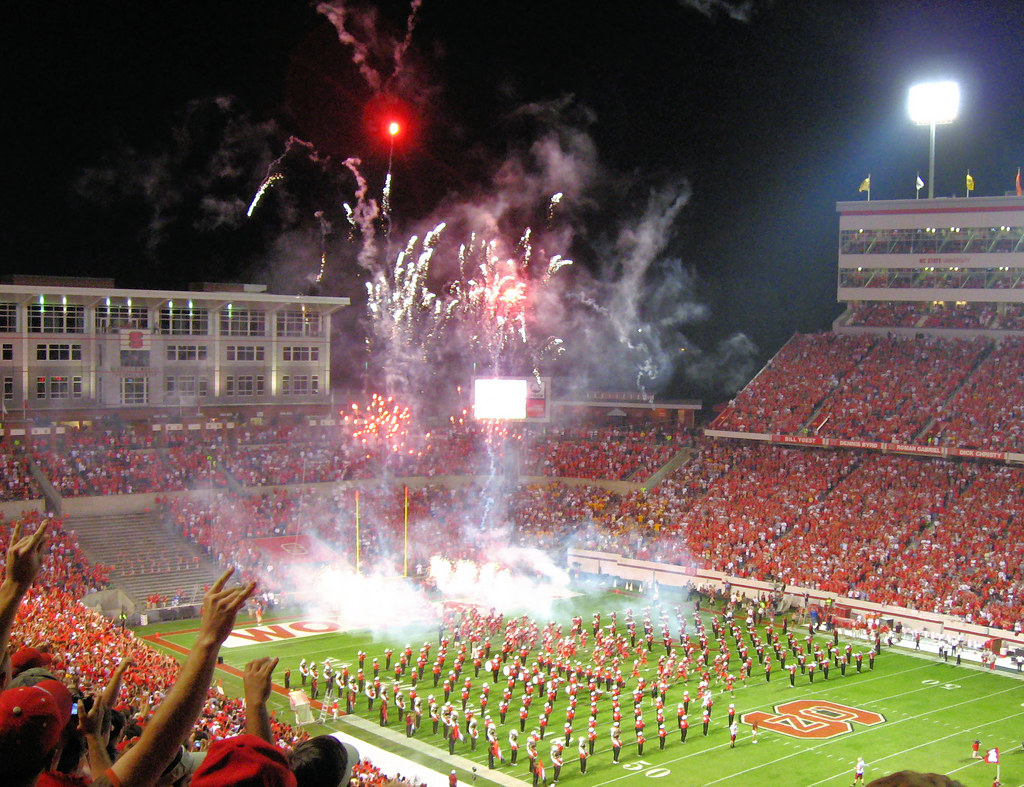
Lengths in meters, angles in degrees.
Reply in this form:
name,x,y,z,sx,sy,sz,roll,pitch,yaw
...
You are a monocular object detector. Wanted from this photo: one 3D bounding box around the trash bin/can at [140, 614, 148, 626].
name,x,y,z,sx,sy,sz,roll,pitch,yaw
trash bin/can,-11.683,7.261,30.679,0.238,0.484,0.246,1,4,-14
